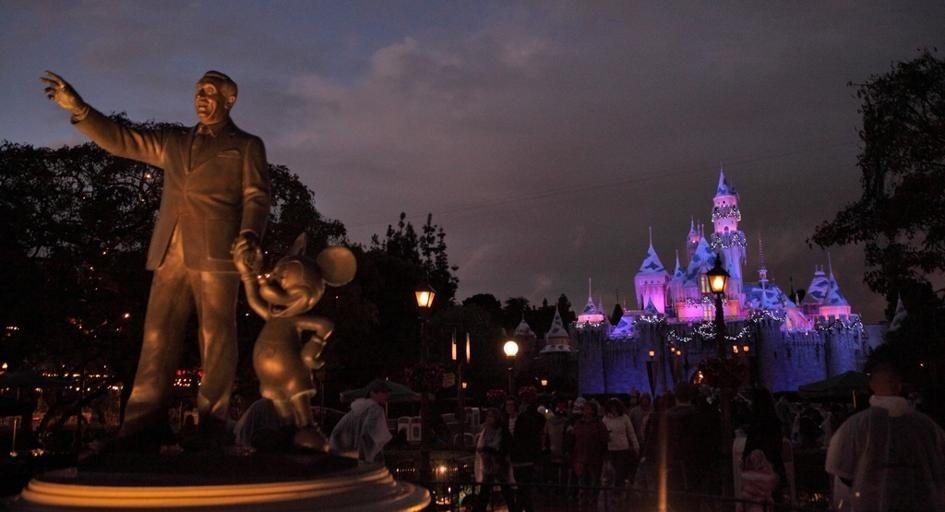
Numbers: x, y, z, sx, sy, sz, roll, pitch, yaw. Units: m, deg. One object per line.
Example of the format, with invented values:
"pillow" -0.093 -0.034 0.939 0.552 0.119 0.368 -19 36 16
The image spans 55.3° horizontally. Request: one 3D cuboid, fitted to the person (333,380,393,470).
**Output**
"person" -2.595 3.861 21.375 1.285 1.840 0.656 2 -19 -4
